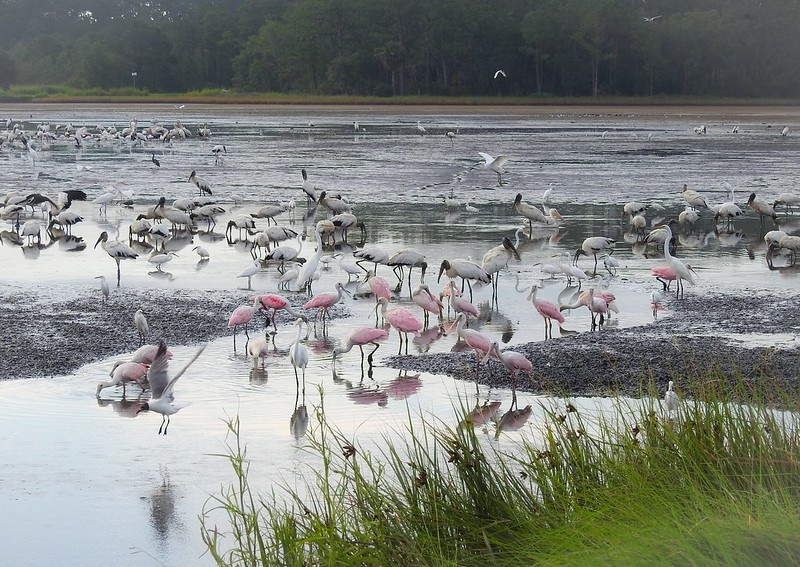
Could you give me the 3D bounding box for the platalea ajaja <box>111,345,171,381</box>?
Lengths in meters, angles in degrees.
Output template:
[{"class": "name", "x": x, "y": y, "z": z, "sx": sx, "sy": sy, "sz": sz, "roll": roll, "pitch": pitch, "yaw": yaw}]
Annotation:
[{"class": "platalea ajaja", "x": -4.332, "y": 1.323, "z": 19.395, "sx": 0.899, "sy": 0.464, "sz": 0.368, "roll": -17, "pitch": 24, "yaw": 17}]
